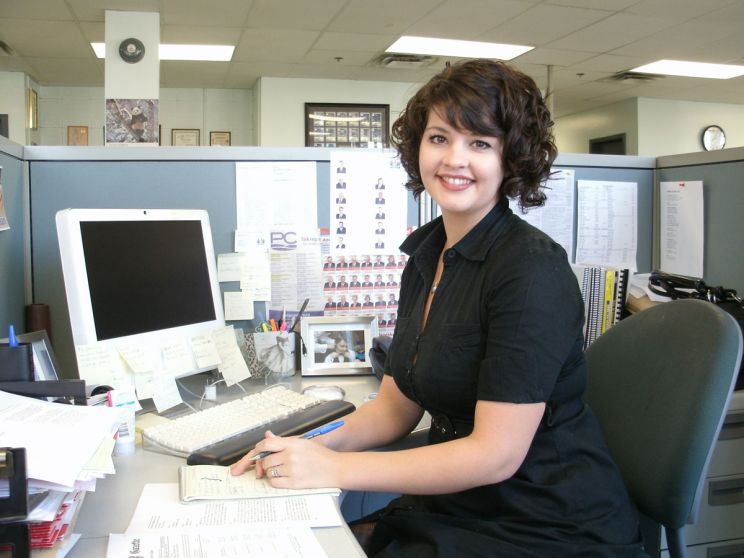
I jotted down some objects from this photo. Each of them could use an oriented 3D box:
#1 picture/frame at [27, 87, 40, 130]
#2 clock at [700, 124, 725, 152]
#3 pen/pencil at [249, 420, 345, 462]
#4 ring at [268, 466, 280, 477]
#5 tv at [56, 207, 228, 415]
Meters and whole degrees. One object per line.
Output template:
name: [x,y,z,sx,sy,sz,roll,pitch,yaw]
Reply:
picture/frame: [-4.030,-2.022,6.586,0.054,0.440,0.330,3,12,-17]
clock: [5.051,-2.109,8.218,0.556,0.342,0.165,-13,18,-35]
pen/pencil: [-0.149,0.321,1.095,0.190,0.025,0.026,-18,21,-37]
ring: [-0.177,0.346,0.999,0.013,0.007,0.018,-1,-3,2]
tv: [-0.554,0.079,1.360,0.159,0.463,0.461,-22,-8,36]
